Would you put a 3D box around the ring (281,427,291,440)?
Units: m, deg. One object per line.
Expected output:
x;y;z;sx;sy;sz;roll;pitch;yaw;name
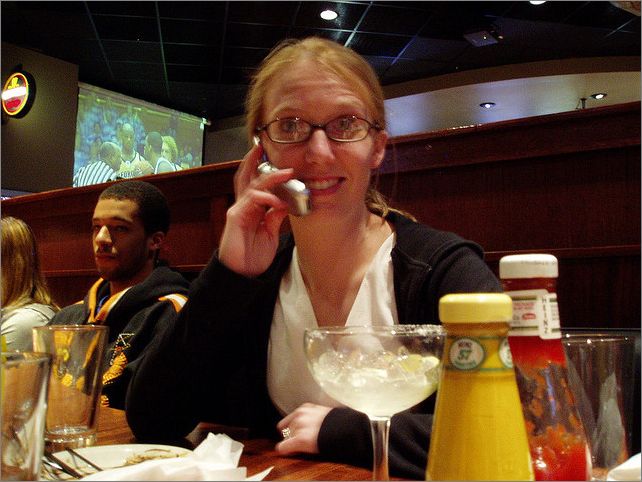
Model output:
-0.070;0.390;0.963;0.008;0.028;0.029;-12;-12;-21;ring

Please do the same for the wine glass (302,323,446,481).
0.067;0.206;0.682;0.190;0.213;0.187;-1;-9;-4;wine glass
